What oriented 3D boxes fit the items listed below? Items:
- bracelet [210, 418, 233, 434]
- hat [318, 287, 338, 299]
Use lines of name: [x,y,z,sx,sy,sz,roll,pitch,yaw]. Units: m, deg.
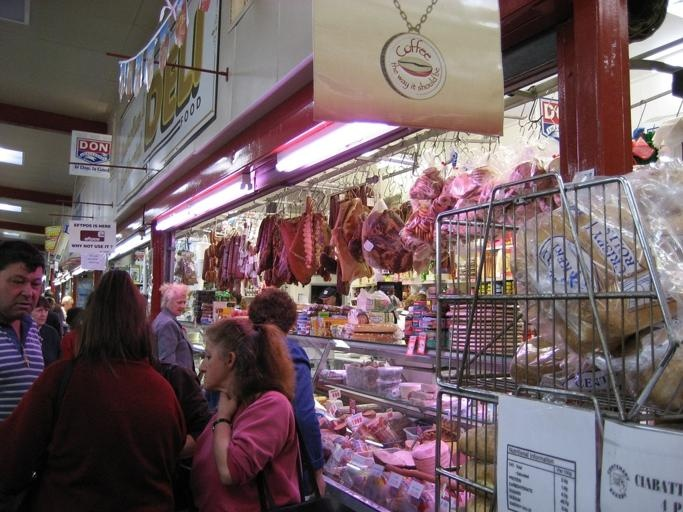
bracelet: [-0.491,0.670,2.145,0.073,0.079,0.051,-7,13,1]
hat: [-0.080,0.342,4.918,0.207,0.127,0.137,9,-8,-42]
